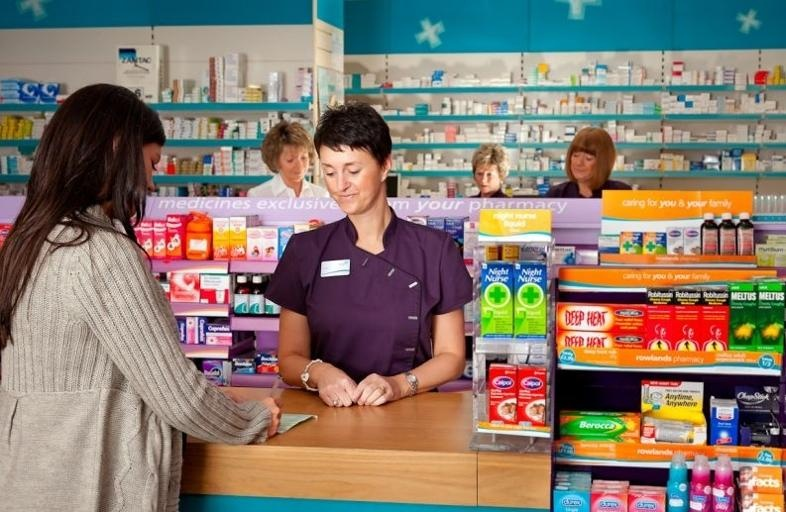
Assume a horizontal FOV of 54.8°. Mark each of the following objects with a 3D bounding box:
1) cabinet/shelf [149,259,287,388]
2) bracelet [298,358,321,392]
[{"bbox_3d":[-0.871,0.309,3.809,0.796,0.671,0.234,2,9,18],"label":"cabinet/shelf"},{"bbox_3d":[-0.312,0.440,2.770,0.040,0.085,0.106,11,-34,-12],"label":"bracelet"}]
